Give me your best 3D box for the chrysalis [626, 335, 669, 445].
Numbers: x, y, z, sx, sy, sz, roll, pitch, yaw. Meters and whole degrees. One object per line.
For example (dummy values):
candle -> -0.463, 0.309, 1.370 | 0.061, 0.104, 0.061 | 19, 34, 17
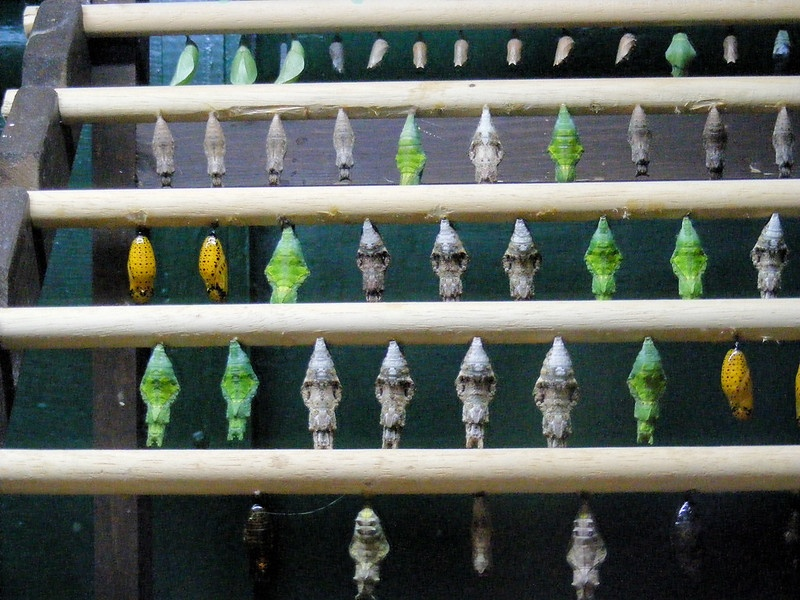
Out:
chrysalis -> 1.104, 0.417, 9.410 | 0.190, 0.482, 0.160 | 7, 13, 22

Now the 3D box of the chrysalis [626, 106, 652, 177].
chrysalis -> 1.085, -0.736, 9.616 | 0.106, 0.317, 0.121 | -2, -3, -3

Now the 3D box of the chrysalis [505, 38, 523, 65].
chrysalis -> 0.541, -1.198, 9.980 | 0.079, 0.117, 0.043 | 1, -1, 18

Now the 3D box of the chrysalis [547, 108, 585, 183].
chrysalis -> 0.759, -0.703, 9.610 | 0.151, 0.356, 0.133 | 0, -4, 2

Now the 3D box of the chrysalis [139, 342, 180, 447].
chrysalis -> -1.086, 0.430, 9.425 | 0.202, 0.451, 0.172 | 1, 8, 1

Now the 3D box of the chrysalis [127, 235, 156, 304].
chrysalis -> -1.198, -0.154, 9.568 | 0.152, 0.295, 0.089 | 2, 0, -7

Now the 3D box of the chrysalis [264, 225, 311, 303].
chrysalis -> -0.517, -0.144, 9.443 | 0.162, 0.384, 0.143 | 5, -4, 1

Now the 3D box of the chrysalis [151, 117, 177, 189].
chrysalis -> -1.087, -0.687, 9.638 | 0.109, 0.330, 0.119 | 1, 1, -4

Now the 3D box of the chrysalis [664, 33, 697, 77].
chrysalis -> 1.315, -1.178, 9.832 | 0.128, 0.157, 0.231 | -2, 49, 7

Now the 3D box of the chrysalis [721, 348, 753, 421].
chrysalis -> 1.504, 0.374, 9.348 | 0.164, 0.299, 0.094 | -15, 11, -33

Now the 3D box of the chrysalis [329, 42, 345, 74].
chrysalis -> -0.304, -1.182, 10.069 | 0.083, 0.135, 0.045 | -9, -1, 13

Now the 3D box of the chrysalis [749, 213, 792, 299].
chrysalis -> 1.667, -0.177, 9.423 | 0.172, 0.467, 0.149 | 5, -28, 6

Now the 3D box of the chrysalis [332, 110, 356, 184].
chrysalis -> -0.257, -0.716, 9.649 | 0.088, 0.335, 0.122 | 1, 2, 4

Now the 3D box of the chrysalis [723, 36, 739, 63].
chrysalis -> 1.566, -1.187, 9.844 | 0.039, 0.121, 0.083 | 7, -6, -34

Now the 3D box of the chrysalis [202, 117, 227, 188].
chrysalis -> -0.846, -0.691, 9.647 | 0.103, 0.322, 0.121 | 2, 4, -2
